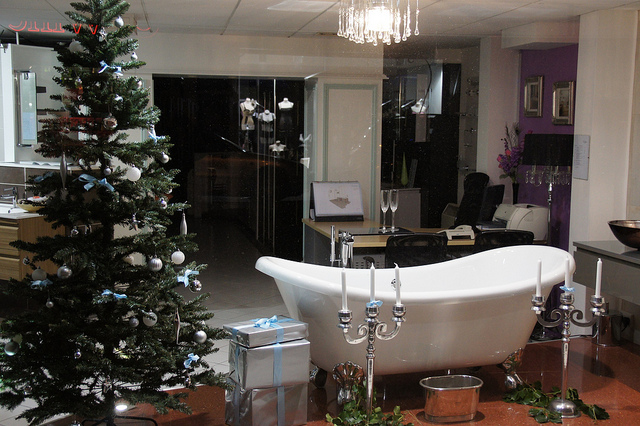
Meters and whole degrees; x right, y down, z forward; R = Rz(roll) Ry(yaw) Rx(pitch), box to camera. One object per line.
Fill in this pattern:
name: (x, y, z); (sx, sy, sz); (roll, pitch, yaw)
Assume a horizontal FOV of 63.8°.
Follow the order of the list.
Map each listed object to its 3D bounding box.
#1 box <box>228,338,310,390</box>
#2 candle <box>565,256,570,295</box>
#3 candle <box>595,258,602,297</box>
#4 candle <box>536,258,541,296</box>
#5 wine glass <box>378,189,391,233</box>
box: (-0.357, 0.993, 3.474); (0.558, 0.286, 0.306); (-2, 9, -35)
candle: (1.618, 0.406, 3.349); (0.035, 0.234, 0.104); (4, 10, 26)
candle: (1.844, 0.409, 3.391); (0.025, 0.269, 0.297); (4, 10, 28)
candle: (1.439, 0.416, 3.365); (0.031, 0.259, 0.189); (3, 9, 23)
wine glass: (0.614, -0.018, 4.882); (0.095, 0.408, 0.042); (1, 9, 8)
